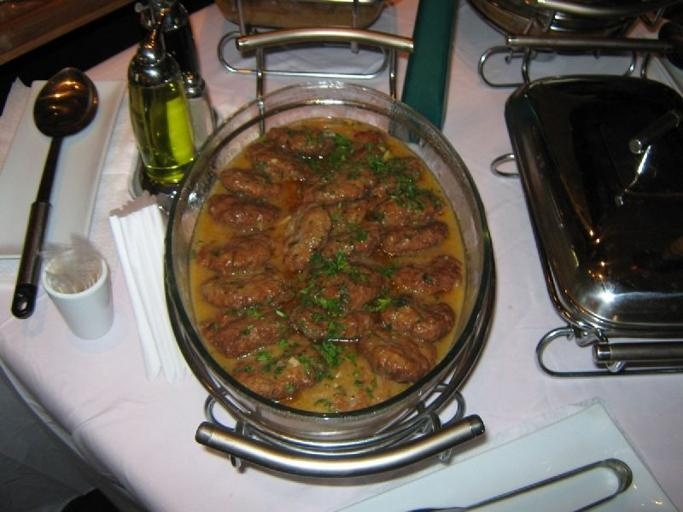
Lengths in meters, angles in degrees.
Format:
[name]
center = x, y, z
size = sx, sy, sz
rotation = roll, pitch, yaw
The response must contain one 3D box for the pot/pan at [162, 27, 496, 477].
[pot/pan]
center = -0.040, -0.007, 1.939
size = 1.071, 0.572, 1.339
rotation = -12, 79, -5
